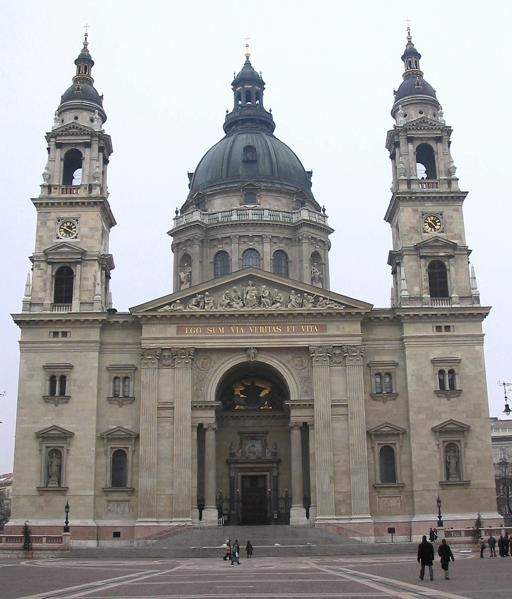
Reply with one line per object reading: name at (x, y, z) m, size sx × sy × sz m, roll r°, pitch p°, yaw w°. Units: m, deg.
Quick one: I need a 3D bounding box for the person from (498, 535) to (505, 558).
person at (12.027, 12.157, 38.705) m, size 0.301 × 0.903 × 1.318 m, roll -6°, pitch -17°, yaw 15°

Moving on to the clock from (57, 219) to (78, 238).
clock at (-15.252, -5.620, 63.198) m, size 1.731 × 1.836 × 0.125 m, roll -1°, pitch -21°, yaw -5°

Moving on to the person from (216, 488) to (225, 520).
person at (-2.856, 15.763, 60.821) m, size 0.563 × 2.044 × 0.994 m, roll 0°, pitch -17°, yaw -4°
